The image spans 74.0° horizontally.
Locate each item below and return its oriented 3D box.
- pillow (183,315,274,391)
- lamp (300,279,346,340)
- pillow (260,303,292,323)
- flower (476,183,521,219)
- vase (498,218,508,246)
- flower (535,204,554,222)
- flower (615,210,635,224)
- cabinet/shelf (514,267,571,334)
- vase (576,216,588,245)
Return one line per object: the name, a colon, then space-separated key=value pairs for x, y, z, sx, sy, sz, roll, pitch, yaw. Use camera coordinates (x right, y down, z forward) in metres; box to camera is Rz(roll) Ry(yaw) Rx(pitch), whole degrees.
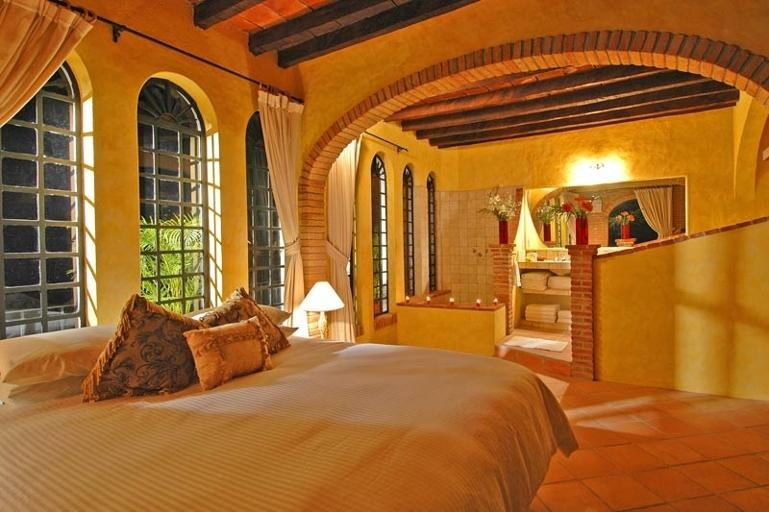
pillow: x=-1.286 y=0.807 z=4.318 sx=0.288 sy=0.484 sz=0.697 roll=-11 pitch=-4 yaw=34
lamp: x=-0.778 y=0.715 z=6.297 sx=0.591 sy=0.764 sz=0.546 roll=-3 pitch=4 yaw=-5
pillow: x=-1.097 y=0.534 z=5.095 sx=0.241 sy=0.113 sz=0.228 roll=16 pitch=-5 yaw=-36
flower: x=2.160 y=-0.994 z=9.333 sx=0.701 sy=0.688 sz=0.722 roll=1 pitch=-1 yaw=-27
vase: x=2.062 y=-0.436 z=8.849 sx=0.139 sy=0.404 sz=0.224 roll=-1 pitch=13 yaw=10
flower: x=2.998 y=-0.807 z=9.477 sx=0.301 sy=0.324 sz=0.342 roll=3 pitch=-1 yaw=-36
flower: x=4.179 y=-0.691 z=8.847 sx=0.305 sy=0.209 sz=0.047 roll=6 pitch=16 yaw=34
cabinet/shelf: x=2.872 y=0.779 z=9.199 sx=0.922 sy=1.007 sz=0.904 roll=2 pitch=14 yaw=21
vase: x=2.519 y=-0.360 z=6.510 sx=0.117 sy=0.348 sz=0.194 roll=0 pitch=13 yaw=15
